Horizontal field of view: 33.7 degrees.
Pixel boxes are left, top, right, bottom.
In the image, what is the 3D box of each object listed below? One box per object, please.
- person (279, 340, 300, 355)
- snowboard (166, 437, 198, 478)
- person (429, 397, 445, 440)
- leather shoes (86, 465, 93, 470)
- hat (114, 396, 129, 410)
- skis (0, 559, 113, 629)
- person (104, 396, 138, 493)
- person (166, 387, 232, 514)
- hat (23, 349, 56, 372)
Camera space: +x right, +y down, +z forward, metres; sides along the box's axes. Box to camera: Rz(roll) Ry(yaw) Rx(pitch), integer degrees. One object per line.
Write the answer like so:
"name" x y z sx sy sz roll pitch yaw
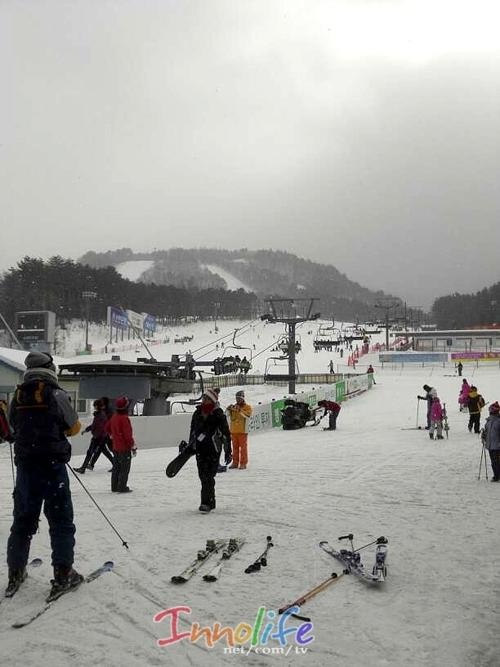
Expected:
"person" 2.184 0.562 47.027 1.147 1.129 0.928 -1 -2 7
"snowboard" -0.875 1.470 9.643 0.249 0.680 0.072 30 30 -19
"person" 4.286 1.884 19.042 0.327 0.943 1.304 0 -2 13
"leather shoes" -2.603 2.140 13.362 0.086 0.104 0.144 8 0 -22
"hat" -1.555 0.820 10.233 0.155 0.123 0.230 1 29 19
"skis" -1.364 1.922 6.188 0.144 0.156 1.339 27 3 11
"person" -1.615 1.382 10.431 0.402 1.187 0.278 3 3 42
"person" -0.578 1.329 9.656 0.681 1.378 0.789 0 -2 -3
"hat" -1.626 0.193 6.330 0.180 0.185 0.150 -14 1 -12
